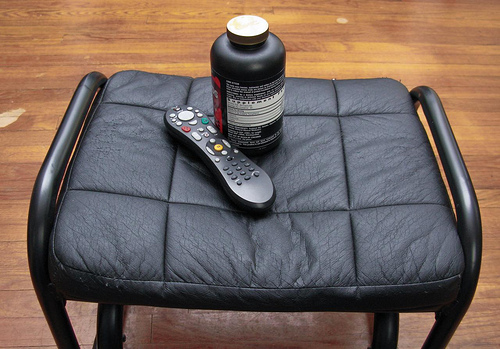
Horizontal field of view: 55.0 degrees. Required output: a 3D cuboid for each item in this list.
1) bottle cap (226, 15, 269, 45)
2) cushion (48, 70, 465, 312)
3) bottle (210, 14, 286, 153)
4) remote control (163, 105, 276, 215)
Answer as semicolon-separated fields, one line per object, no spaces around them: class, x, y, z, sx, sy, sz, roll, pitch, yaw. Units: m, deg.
bottle cap;-0.005;-0.276;0.922;0.093;0.020;0.082;1;50;0
cushion;0.022;0.008;1.108;0.884;0.243;0.571;2;55;-5
bottle;-0.003;-0.195;1.018;0.163;0.265;0.148;-14;46;-14
remote control;-0.004;-0.024;1.055;0.213;0.205;0.250;-30;46;-35
